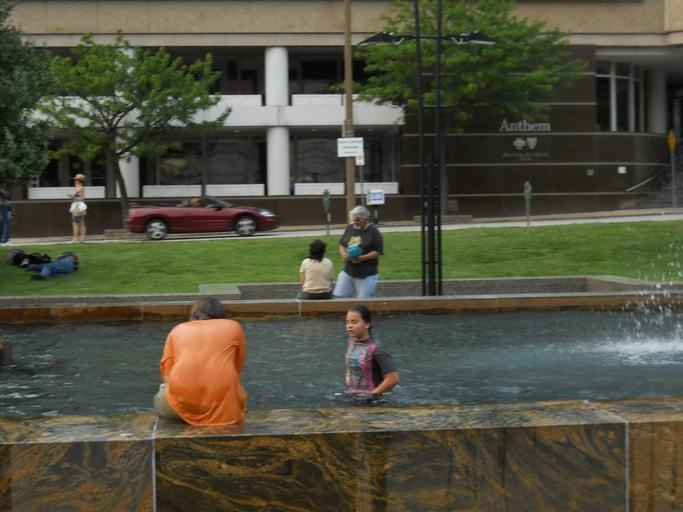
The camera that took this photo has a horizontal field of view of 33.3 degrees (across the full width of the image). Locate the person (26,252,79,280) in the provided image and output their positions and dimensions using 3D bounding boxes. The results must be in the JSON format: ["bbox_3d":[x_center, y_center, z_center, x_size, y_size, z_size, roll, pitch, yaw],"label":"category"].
[{"bbox_3d":[-7.870,0.228,30.843,0.804,0.662,1.641,-1,3,17],"label":"person"}]

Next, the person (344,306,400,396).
[{"bbox_3d":[0.569,1.805,21.851,1.057,1.761,0.439,-2,4,6],"label":"person"}]

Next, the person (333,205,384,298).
[{"bbox_3d":[0.404,-0.118,26.841,1.141,2.183,0.809,-2,4,-1],"label":"person"}]

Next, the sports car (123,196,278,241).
[{"bbox_3d":[-4.997,-1.389,40.501,5.036,0.997,1.904,-2,2,-7],"label":"sports car"}]

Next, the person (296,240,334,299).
[{"bbox_3d":[-0.624,0.293,26.977,0.846,1.406,0.856,-2,4,-4],"label":"person"}]
